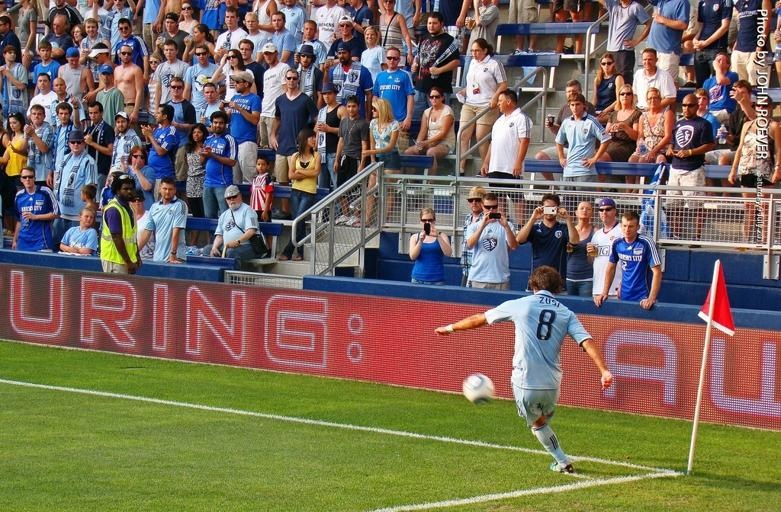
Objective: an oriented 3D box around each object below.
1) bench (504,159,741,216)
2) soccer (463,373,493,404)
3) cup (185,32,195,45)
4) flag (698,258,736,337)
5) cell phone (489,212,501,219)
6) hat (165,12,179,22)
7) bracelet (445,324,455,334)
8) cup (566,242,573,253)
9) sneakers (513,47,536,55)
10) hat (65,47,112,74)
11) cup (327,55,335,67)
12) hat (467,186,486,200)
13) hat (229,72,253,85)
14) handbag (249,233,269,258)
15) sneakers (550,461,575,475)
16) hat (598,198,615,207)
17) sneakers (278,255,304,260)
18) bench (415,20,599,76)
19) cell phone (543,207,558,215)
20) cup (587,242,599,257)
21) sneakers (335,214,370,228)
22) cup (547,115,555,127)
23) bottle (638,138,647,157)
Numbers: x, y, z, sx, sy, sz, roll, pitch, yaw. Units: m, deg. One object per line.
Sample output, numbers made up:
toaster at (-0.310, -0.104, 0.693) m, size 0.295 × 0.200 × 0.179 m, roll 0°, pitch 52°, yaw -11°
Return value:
bench at (4.484, -1.075, 28.964) m, size 4.025 × 1.379 × 1.154 m, roll 1°, pitch 1°, yaw -7°
soccer at (1.285, 1.938, 23.473) m, size 0.435 × 0.425 × 0.427 m, roll -12°, pitch 11°, yaw -38°
cup at (-4.277, -4.651, 34.810) m, size 0.140 × 0.236 × 0.234 m, roll 32°, pitch -33°, yaw 9°
flag at (4.934, 0.670, 24.635) m, size 0.513 × 1.105 × 1.546 m, roll 2°, pitch 0°, yaw 11°
cell phone at (1.778, -0.680, 27.835) m, size 0.183 × 0.116 × 0.127 m, roll 2°, pitch 0°, yaw 3°
hat at (-4.657, -5.119, 34.756) m, size 0.227 × 0.181 × 0.238 m, roll 9°, pitch 6°, yaw -38°
bracelet at (0.856, 1.088, 23.619) m, size 0.119 × 0.087 × 0.119 m, roll -1°, pitch 4°, yaw 14°
cup at (3.035, -0.123, 27.782) m, size 0.139 × 0.236 × 0.138 m, roll 1°, pitch 0°, yaw 0°
sneakers at (2.721, -4.193, 33.333) m, size 0.449 × 0.195 × 0.163 m, roll -2°, pitch 5°, yaw -3°
hat at (-6.237, -4.114, 34.069) m, size 0.780 × 0.393 × 0.490 m, roll -3°, pitch 3°, yaw -30°
cup at (-1.196, -3.892, 32.524) m, size 0.167 × 0.184 × 0.177 m, roll 8°, pitch 9°, yaw -1°
hat at (1.473, -1.063, 28.083) m, size 0.274 × 0.229 × 0.253 m, roll 2°, pitch 0°, yaw 3°
hat at (-2.905, -3.527, 32.181) m, size 0.347 × 0.161 × 0.220 m, roll 7°, pitch 8°, yaw -22°
handbag at (-2.467, -0.156, 29.987) m, size 0.161 × 0.409 × 0.329 m, roll -25°, pitch -12°, yaw 21°
sneakers at (2.468, 3.085, 23.526) m, size 0.326 × 0.146 × 0.152 m, roll 6°, pitch 6°, yaw 37°
hat at (3.623, -0.881, 27.382) m, size 0.269 × 0.154 × 0.317 m, roll 2°, pitch 0°, yaw 6°
sneakers at (-1.869, 0.075, 30.578) m, size 0.399 × 0.106 × 0.153 m, roll -2°, pitch -1°, yaw 4°
bench at (2.720, -4.154, 33.335) m, size 2.863 × 0.966 × 0.949 m, roll -2°, pitch -11°, yaw -18°
cell phone at (2.703, -0.755, 27.690) m, size 0.263 × 0.116 × 0.139 m, roll 2°, pitch 0°, yaw 12°
cup at (3.387, -0.075, 27.351) m, size 0.199 × 0.216 × 0.201 m, roll 1°, pitch 1°, yaw 0°
sneakers at (-0.748, -0.625, 29.866) m, size 0.487 × 0.200 × 0.160 m, roll 15°, pitch -27°, yaw -29°
cup at (3.049, -2.570, 30.991) m, size 0.212 × 0.234 × 0.220 m, roll 1°, pitch 7°, yaw 0°
bottle at (4.525, -1.946, 29.377) m, size 0.063 × 0.223 × 0.233 m, roll 1°, pitch 35°, yaw -20°
